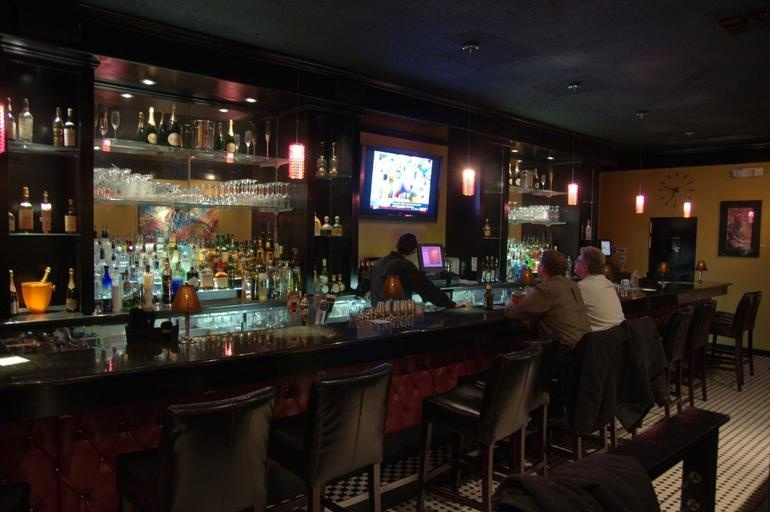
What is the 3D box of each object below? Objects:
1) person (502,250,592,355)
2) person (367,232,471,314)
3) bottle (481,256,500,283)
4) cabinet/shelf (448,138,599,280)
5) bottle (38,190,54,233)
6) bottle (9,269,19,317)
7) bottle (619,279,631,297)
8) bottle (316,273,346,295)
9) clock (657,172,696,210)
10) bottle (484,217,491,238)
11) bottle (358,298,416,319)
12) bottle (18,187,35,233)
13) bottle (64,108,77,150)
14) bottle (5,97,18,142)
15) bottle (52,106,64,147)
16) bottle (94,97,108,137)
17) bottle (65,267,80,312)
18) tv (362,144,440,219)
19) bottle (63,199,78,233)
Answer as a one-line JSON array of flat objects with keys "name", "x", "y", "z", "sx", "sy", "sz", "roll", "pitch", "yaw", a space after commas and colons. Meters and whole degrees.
[{"name": "person", "x": 1.604, "y": 0.394, "z": 5.694, "sx": 0.757, "sy": 0.853, "sz": 0.914, "roll": -2, "pitch": 4, "yaw": -27}, {"name": "person", "x": 0.392, "y": 0.230, "z": 7.407, "sx": 0.317, "sy": 0.555, "sz": 0.894, "roll": -13, "pitch": 20, "yaw": -34}, {"name": "bottle", "x": 1.617, "y": 0.206, "z": 9.121, "sx": 0.075, "sy": 0.410, "sz": 0.392, "roll": 3, "pitch": 5, "yaw": 44}, {"name": "cabinet/shelf", "x": 2.133, "y": -0.756, "z": 9.390, "sx": 2.292, "sy": 1.912, "sz": 0.719, "roll": 5, "pitch": -7, "yaw": -40}, {"name": "bottle", "x": -3.296, "y": -0.427, "z": 5.822, "sx": 0.108, "sy": 0.414, "sz": 0.243, "roll": -3, "pitch": 4, "yaw": -29}, {"name": "bottle", "x": -3.528, "y": 0.340, "z": 5.681, "sx": 0.050, "sy": 0.432, "sz": 0.391, "roll": -3, "pitch": 4, "yaw": -28}, {"name": "bottle", "x": 3.183, "y": 0.434, "z": 7.851, "sx": 0.162, "sy": 0.228, "sz": 0.067, "roll": 7, "pitch": -12, "yaw": -5}, {"name": "bottle", "x": -0.662, "y": 0.346, "z": 7.228, "sx": 0.270, "sy": 0.247, "sz": 0.085, "roll": -1, "pitch": 0, "yaw": -40}, {"name": "clock", "x": 5.591, "y": -1.246, "z": 11.350, "sx": 0.062, "sy": 0.790, "sz": 0.746, "roll": -5, "pitch": 6, "yaw": -44}, {"name": "bottle", "x": 1.583, "y": -0.423, "z": 9.141, "sx": 0.093, "sy": 0.300, "sz": 0.164, "roll": 1, "pitch": 4, "yaw": 22}, {"name": "bottle", "x": 0.068, "y": 0.513, "z": 5.623, "sx": 0.692, "sy": 0.167, "sz": 0.184, "roll": -3, "pitch": 5, "yaw": -37}, {"name": "bottle", "x": -3.460, "y": -0.447, "z": 5.754, "sx": 0.139, "sy": 0.445, "sz": 0.225, "roll": -3, "pitch": 4, "yaw": -31}, {"name": "bottle", "x": -3.047, "y": -1.238, "z": 5.770, "sx": 0.118, "sy": 0.395, "sz": 0.129, "roll": -1, "pitch": 4, "yaw": 0}, {"name": "bottle", "x": -3.458, "y": -1.282, "z": 5.517, "sx": 0.075, "sy": 0.425, "sz": 0.340, "roll": -2, "pitch": 4, "yaw": -24}, {"name": "bottle", "x": -3.168, "y": -1.260, "z": 5.805, "sx": 0.095, "sy": 0.377, "sz": 0.200, "roll": -3, "pitch": 4, "yaw": -30}, {"name": "bottle", "x": -2.940, "y": -1.440, "z": 6.203, "sx": 0.122, "sy": 0.429, "sz": 0.377, "roll": -2, "pitch": 4, "yaw": -25}, {"name": "bottle", "x": -3.058, "y": 0.338, "z": 5.862, "sx": 0.112, "sy": 0.417, "sz": 0.144, "roll": -2, "pitch": 4, "yaw": -18}, {"name": "tv", "x": 0.258, "y": -1.004, "z": 8.437, "sx": 1.313, "sy": 0.979, "sz": 0.247, "roll": -4, "pitch": 5, "yaw": -44}, {"name": "bottle", "x": -3.080, "y": -0.386, "z": 5.859, "sx": 0.107, "sy": 0.333, "sz": 0.134, "roll": -3, "pitch": 4, "yaw": -32}]
